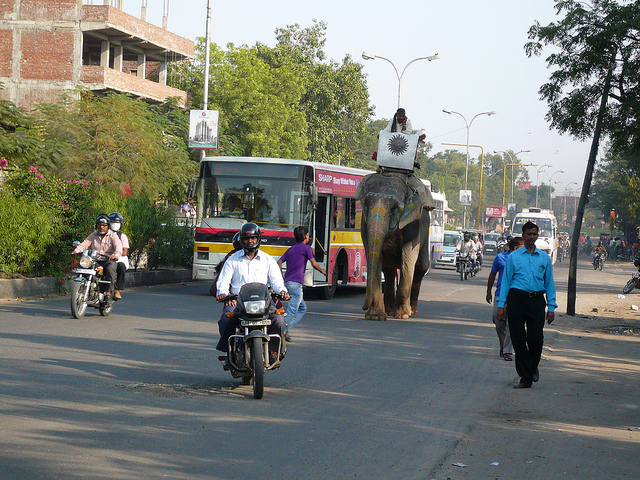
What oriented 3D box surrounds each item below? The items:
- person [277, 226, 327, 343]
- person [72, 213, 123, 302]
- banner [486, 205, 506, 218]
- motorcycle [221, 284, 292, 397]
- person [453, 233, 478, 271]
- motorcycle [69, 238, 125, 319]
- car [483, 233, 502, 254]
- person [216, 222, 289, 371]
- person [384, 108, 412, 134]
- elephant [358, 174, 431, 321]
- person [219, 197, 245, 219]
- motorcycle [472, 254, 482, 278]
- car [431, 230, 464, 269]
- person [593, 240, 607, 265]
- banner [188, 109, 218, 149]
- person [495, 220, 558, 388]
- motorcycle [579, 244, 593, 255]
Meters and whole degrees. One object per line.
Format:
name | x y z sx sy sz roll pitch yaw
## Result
person | -0.391 0.834 16.881 0.836 2.214 0.940 3 -4 15
person | -4.424 0.358 18.868 0.815 1.746 0.479 1 5 -14
banner | 21.549 -3.349 114.443 2.012 2.022 7.335 0 -3 14
motorcycle | -0.931 1.396 13.121 0.673 1.575 0.755 5 5 26
person | 5.688 0.234 36.112 0.758 0.932 1.612 -1 -4 13
motorcycle | -4.529 0.791 18.623 0.514 1.509 1.236 6 5 34
car | 12.000 0.134 64.942 1.065 1.107 2.039 -1 -3 12
person | -0.980 0.810 13.324 1.019 2.111 0.702 2 4 -4
person | 1.938 -2.923 22.486 0.629 0.637 0.836 3 4 4
elephant | 1.661 0.140 21.697 1.214 3.342 3.075 4 5 18
person | -2.204 -0.831 23.585 0.678 0.518 0.210 6 5 32
motorcycle | 6.273 1.066 37.109 0.490 0.616 0.931 -2 -4 14
car | 6.666 0.182 46.152 1.118 1.633 3.409 6 10 15
person | 15.553 0.551 50.908 0.950 1.060 1.569 -3 -5 12
banner | -4.325 -4.175 34.681 1.534 2.082 0.197 0 1 9
person | 3.167 0.982 14.180 0.847 2.510 0.457 3 5 12
motorcycle | 21.693 0.731 75.653 0.829 0.993 1.485 -1 -4 7
